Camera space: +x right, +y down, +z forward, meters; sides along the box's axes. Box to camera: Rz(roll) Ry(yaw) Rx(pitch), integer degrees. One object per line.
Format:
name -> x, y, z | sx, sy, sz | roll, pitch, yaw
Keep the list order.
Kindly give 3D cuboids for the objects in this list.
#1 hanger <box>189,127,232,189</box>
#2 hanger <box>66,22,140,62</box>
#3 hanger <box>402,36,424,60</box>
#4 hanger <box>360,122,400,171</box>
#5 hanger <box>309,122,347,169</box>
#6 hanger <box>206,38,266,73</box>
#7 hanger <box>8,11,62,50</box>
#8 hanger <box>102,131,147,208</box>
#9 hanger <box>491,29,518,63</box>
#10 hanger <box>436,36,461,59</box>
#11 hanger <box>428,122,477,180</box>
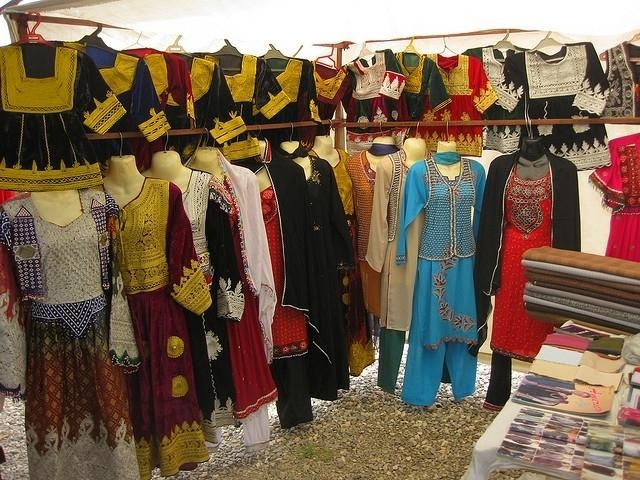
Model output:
hanger -> -0.626, -0.473, 3.159 | 0.297, 0.361, 0.204 | -1, 20, -6
hanger -> -1.136, -1.032, 2.896 | 0.311, 0.237, 0.322 | -8, 14, -19
hanger -> 0.677, -1.395, 3.972 | 0.268, 0.190, 0.006 | 12, 22, 32
hanger -> 0.437, -0.658, 3.918 | 0.246, 0.182, 0.329 | 1, 36, 6
hanger -> 0.048, -0.676, 3.912 | 0.176, 0.276, 0.383 | 12, 19, 39
hanger -> -0.565, -1.127, 3.351 | 0.168, 0.218, 0.178 | 7, 17, 36
hanger -> -1.504, -1.080, 2.838 | 0.192, 0.198, 0.688 | -10, 15, -26
hanger -> -1.020, -0.362, 2.845 | 0.359, 0.369, 0.163 | -5, 10, -19
hanger -> 1.254, -1.342, 3.736 | 0.144, 0.211, 0.342 | 2, 14, 19
hanger -> 0.938, -1.409, 3.985 | 0.261, 0.166, 0.018 | 13, 27, 32
hanger -> 0.906, -0.603, 3.720 | 0.397, 0.518, 0.211 | -2, 1, -3
